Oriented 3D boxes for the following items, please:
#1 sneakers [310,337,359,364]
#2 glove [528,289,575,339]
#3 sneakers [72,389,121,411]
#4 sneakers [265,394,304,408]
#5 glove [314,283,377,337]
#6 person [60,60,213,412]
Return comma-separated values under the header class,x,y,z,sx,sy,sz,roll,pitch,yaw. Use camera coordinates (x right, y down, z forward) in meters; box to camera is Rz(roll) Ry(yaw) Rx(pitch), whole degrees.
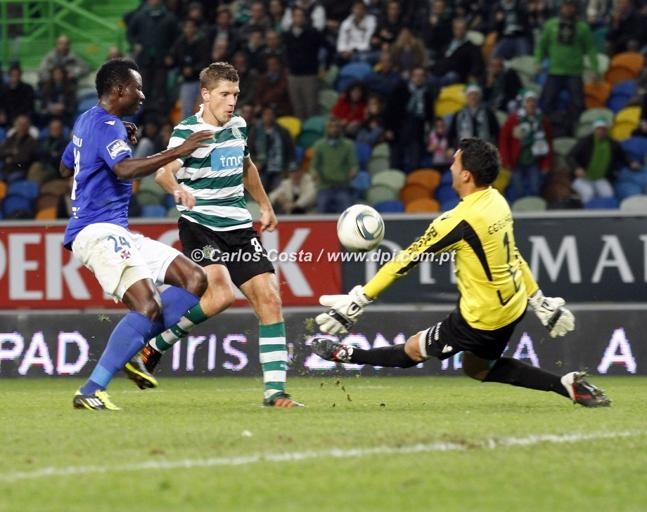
class,x,y,z,sx,sy,sz,roll,pitch,yaw
sneakers,0.072,0.744,8.446,0.295,0.169,0.117,16,-26,16
glove,1.791,0.395,8.501,0.399,0.122,0.307,40,-39,-2
sneakers,-1.646,1.060,8.040,0.396,0.189,0.132,5,-7,-4
sneakers,-0.307,1.100,8.262,0.215,0.091,0.123,-13,-15,36
glove,0.165,0.397,8.178,0.296,0.408,0.163,42,9,11
person,-1.406,-0.164,8.218,1.068,2.622,0.796,0,5,-5
